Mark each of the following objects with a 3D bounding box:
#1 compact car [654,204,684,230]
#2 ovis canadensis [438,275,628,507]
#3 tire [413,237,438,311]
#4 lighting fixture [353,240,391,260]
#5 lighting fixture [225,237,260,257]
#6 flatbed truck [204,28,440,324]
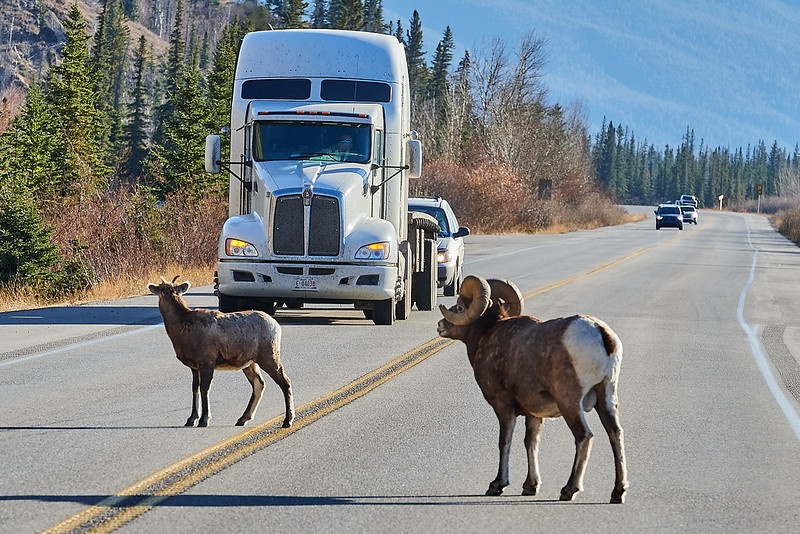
[{"bbox_3d":[21.747,-3.985,74.447,1.977,1.961,3.522,2,7,15],"label":"compact car"},{"bbox_3d":[1.276,1.227,9.507,0.724,2.324,2.101,7,-7,-44],"label":"ovis canadensis"},{"bbox_3d":[0.685,-0.022,20.844,0.392,1.421,0.905,-12,-11,13],"label":"tire"},{"bbox_3d":[-0.509,-0.300,17.484,0.659,0.331,0.109,-1,5,-12],"label":"lighting fixture"},{"bbox_3d":[-2.998,-0.364,17.463,0.664,0.320,0.100,2,5,17],"label":"lighting fixture"},{"bbox_3d":[-1.588,-1.842,18.459,4.472,6.085,2.929,-1,5,-14],"label":"flatbed truck"}]
